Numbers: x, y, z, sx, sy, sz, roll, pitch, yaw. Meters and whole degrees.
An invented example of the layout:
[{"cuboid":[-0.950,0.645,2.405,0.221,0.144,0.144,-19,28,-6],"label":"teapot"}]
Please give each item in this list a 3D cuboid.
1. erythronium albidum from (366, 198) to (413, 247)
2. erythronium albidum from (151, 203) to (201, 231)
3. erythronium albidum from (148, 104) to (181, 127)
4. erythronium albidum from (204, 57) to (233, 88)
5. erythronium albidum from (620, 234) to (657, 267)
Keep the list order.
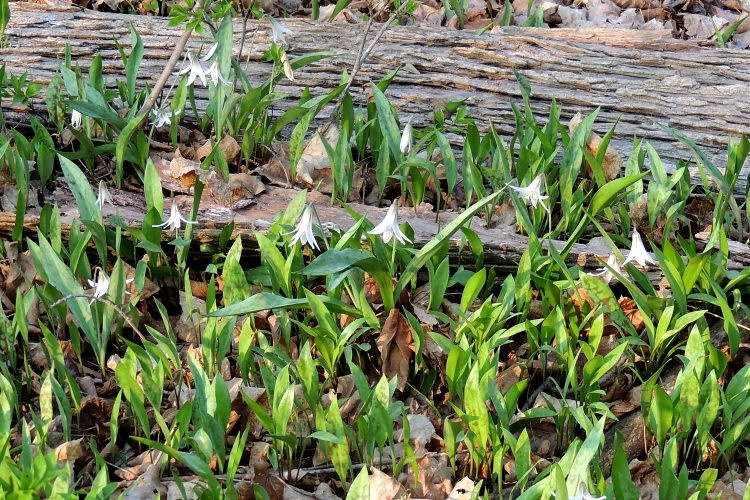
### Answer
[{"cuboid":[0.087,-0.123,4.106,0.204,0.229,0.203,24,35,13],"label":"erythronium albidum"},{"cuboid":[-1.085,-0.164,4.277,0.140,0.119,0.164,-1,5,6],"label":"erythronium albidum"},{"cuboid":[-1.327,-0.840,4.971,0.112,0.060,0.147,11,61,-1],"label":"erythronium albidum"},{"cuboid":[-0.950,-1.029,4.750,0.128,0.143,0.153,7,32,-11],"label":"erythronium albidum"},{"cuboid":[1.460,0.012,4.417,0.098,0.126,0.111,-16,22,-10],"label":"erythronium albidum"}]
